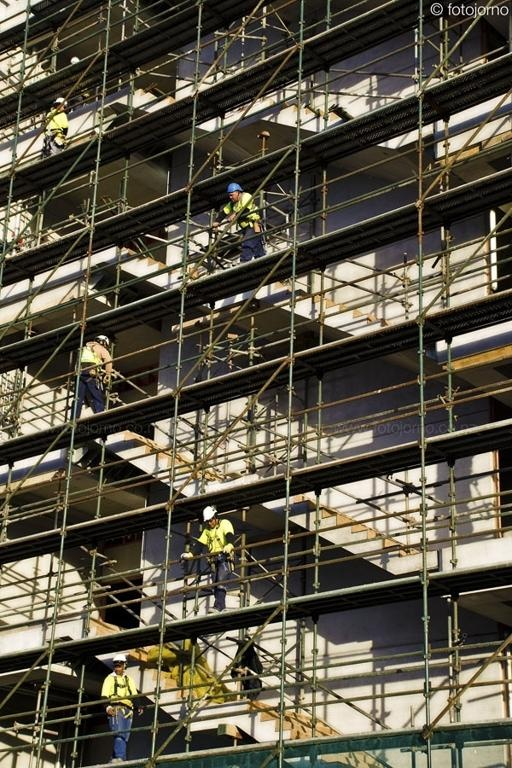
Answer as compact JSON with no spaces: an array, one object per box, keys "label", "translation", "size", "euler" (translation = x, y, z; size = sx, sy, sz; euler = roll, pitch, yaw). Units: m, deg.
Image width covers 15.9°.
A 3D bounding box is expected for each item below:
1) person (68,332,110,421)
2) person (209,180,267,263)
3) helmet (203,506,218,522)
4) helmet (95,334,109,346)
[{"label":"person","translation":[-2.707,-0.209,30.745],"size":[0.606,1.956,1.461],"euler":[4,-21,-5]},{"label":"person","translation":[-0.284,-2.749,30.505],"size":[0.799,1.436,0.585],"euler":[14,-50,-12]},{"label":"helmet","translation":[-0.715,1.941,27.834],"size":[0.173,0.228,0.223],"euler":[9,-11,37]},{"label":"helmet","translation":[-2.606,-0.775,31.158],"size":[0.158,0.198,0.208],"euler":[13,10,32]}]
